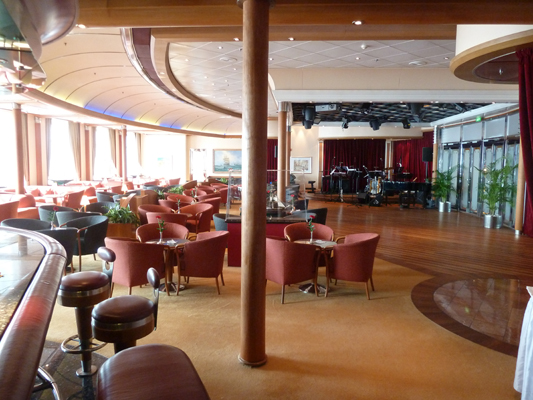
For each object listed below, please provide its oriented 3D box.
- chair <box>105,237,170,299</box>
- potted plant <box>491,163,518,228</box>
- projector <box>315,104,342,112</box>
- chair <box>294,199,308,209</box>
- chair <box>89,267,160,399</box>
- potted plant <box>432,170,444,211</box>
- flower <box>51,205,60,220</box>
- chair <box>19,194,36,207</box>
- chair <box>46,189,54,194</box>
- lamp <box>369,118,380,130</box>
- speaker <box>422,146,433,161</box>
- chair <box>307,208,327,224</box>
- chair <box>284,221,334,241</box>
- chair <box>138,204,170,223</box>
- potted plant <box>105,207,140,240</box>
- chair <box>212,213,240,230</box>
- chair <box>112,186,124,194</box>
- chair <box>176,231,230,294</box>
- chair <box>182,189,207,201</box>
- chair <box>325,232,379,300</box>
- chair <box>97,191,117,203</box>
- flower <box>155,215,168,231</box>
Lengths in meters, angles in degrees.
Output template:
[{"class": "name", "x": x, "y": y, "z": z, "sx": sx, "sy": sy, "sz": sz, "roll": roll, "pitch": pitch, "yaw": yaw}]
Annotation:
[{"class": "chair", "x": -1.677, "y": 0.807, "z": 5.077, "sx": 0.843, "sy": 0.790, "sz": 0.787, "roll": 5, "pitch": 7, "yaw": 38}, {"class": "potted plant", "x": 6.784, "y": -0.155, "z": 10.595, "sx": 0.533, "sy": 1.822, "sz": 0.901, "roll": 9, "pitch": 14, "yaw": 33}, {"class": "projector", "x": 2.106, "y": -3.252, "z": 12.817, "sx": 0.484, "sy": 0.231, "sz": 1.407, "roll": -2, "pitch": 10, "yaw": -17}, {"class": "chair", "x": 0.712, "y": 0.094, "z": 7.564, "sx": 0.220, "sy": 0.185, "sz": 0.578, "roll": 3, "pitch": 10, "yaw": 12}, {"class": "chair", "x": -1.154, "y": 0.937, "z": 2.958, "sx": 0.659, "sy": 1.174, "sz": 0.615, "roll": 2, "pitch": 2, "yaw": -26}, {"class": "potted plant", "x": 6.640, "y": -0.349, "z": 14.253, "sx": 0.503, "sy": 1.488, "sz": 1.315, "roll": 6, "pitch": 12, "yaw": 22}, {"class": "flower", "x": -3.830, "y": 0.243, "z": 6.715, "sx": 0.107, "sy": 0.275, "sz": 0.222, "roll": 4, "pitch": -3, "yaw": -4}, {"class": "chair", "x": -6.116, "y": 0.042, "z": 9.492, "sx": 0.417, "sy": 0.333, "sz": 0.382, "roll": -1, "pitch": -1, "yaw": -8}, {"class": "chair", "x": -6.943, "y": -0.262, "z": 11.895, "sx": 0.252, "sy": 0.156, "sz": 0.128, "roll": -1, "pitch": -8, "yaw": -19}, {"class": "lamp", "x": 5.074, "y": -3.633, "z": 17.511, "sx": 0.585, "sy": 0.581, "sz": 0.538, "roll": -4, "pitch": 14, "yaw": 2}, {"class": "speaker", "x": 6.815, "y": -1.940, "z": 15.663, "sx": 0.407, "sy": 0.585, "sz": 0.713, "roll": 6, "pitch": 11, "yaw": 22}, {"class": "chair", "x": 1.006, "y": 0.307, "z": 7.286, "sx": 0.366, "sy": 0.381, "sz": 0.337, "roll": 3, "pitch": -3, "yaw": -27}, {"class": "chair", "x": 0.668, "y": 0.521, "z": 6.073, "sx": 0.466, "sy": 0.364, "sz": 0.457, "roll": 0, "pitch": 0, "yaw": -7}, {"class": "chair", "x": -2.478, "y": 0.259, "z": 8.053, "sx": 0.533, "sy": 0.367, "sz": 0.459, "roll": 0, "pitch": 7, "yaw": -11}, {"class": "potted plant", "x": -2.726, "y": 0.461, "z": 6.990, "sx": 0.576, "sy": 0.668, "sz": 0.677, "roll": 0, "pitch": 1, "yaw": 17}, {"class": "chair", "x": -0.719, "y": 0.380, "z": 6.569, "sx": 0.424, "sy": 0.405, "sz": 0.349, "roll": -5, "pitch": 10, "yaw": 1}, {"class": "chair", "x": -5.499, "y": -0.377, "z": 13.669, "sx": 0.340, "sy": 0.262, "sz": 0.520, "roll": 2, "pitch": 1, "yaw": -2}, {"class": "chair", "x": -0.930, "y": 0.892, "z": 5.323, "sx": 0.746, "sy": 0.871, "sz": 0.577, "roll": -1, "pitch": 11, "yaw": -13}, {"class": "chair", "x": -2.254, "y": -0.155, "z": 11.581, "sx": 0.638, "sy": 0.257, "sz": 0.589, "roll": -3, "pitch": 19, "yaw": -25}, {"class": "chair", "x": 1.226, "y": 0.951, "z": 5.547, "sx": 0.952, "sy": 0.914, "sz": 0.922, "roll": 0, "pitch": -2, "yaw": 15}, {"class": "chair", "x": -4.337, "y": -0.072, "z": 10.039, "sx": 0.435, "sy": 0.355, "sz": 0.337, "roll": -6, "pitch": 15, "yaw": -25}, {"class": "flower", "x": -1.754, "y": 0.390, "z": 6.208, "sx": 0.180, "sy": 0.259, "sz": 0.184, "roll": 16, "pitch": 20, "yaw": 42}]
